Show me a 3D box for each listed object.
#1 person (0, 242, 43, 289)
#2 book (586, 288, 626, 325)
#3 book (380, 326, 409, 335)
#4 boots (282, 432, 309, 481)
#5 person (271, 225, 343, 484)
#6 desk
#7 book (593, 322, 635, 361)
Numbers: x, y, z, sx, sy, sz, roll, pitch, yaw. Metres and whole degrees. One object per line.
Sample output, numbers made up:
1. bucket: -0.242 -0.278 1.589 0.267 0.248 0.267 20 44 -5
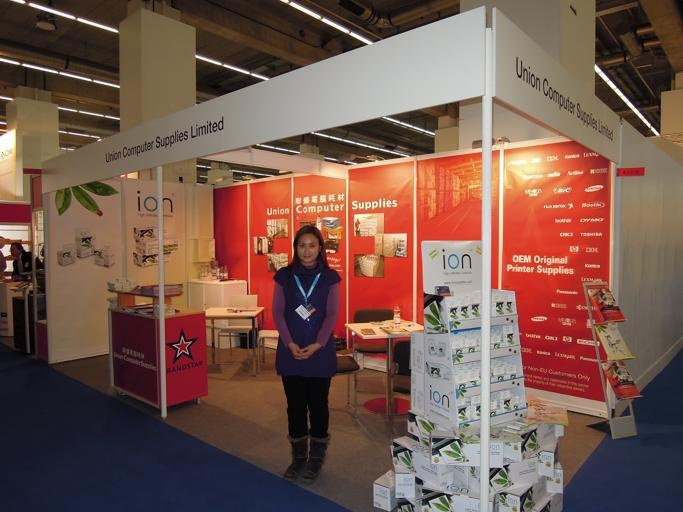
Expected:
1. person: -5.637 0.158 9.318 0.386 1.092 0.374 -20 -19 5
2. book: 2.821 0.509 5.664 0.347 0.366 0.289 -6 11 -29
3. book: 0.627 0.850 6.125 0.293 0.018 0.284 -1 10 -1
4. boots: -0.436 1.883 5.005 0.172 0.326 0.412 -4 1 17
5. person: -0.321 0.873 4.900 0.617 2.281 0.528 -1 9 0
6. desk: -1.626 1.210 7.902 0.929 0.926 0.954 0 0 1
7. book: 2.866 0.909 5.625 0.388 0.403 0.094 -9 -20 -21
